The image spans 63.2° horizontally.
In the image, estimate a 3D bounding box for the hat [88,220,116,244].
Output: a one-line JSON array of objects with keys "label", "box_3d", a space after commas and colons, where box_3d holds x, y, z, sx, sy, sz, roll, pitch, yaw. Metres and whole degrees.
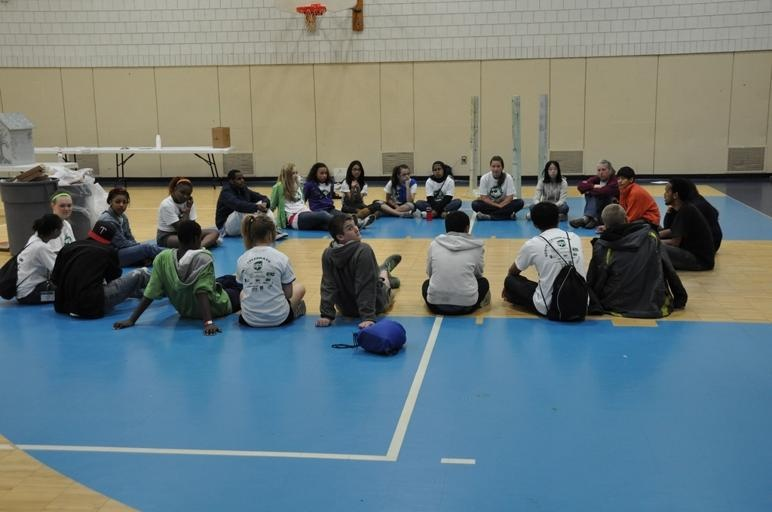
[{"label": "hat", "box_3d": [-3.498, -0.246, 7.768, 0.257, 0.216, 0.374, 16, 16, -13]}]

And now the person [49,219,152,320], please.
[{"label": "person", "box_3d": [-3.433, 0.077, 7.632, 0.979, 1.052, 1.378, 10, 13, 19]}]

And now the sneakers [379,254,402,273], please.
[{"label": "sneakers", "box_3d": [0.058, 0.109, 7.895, 0.143, 0.139, 0.375, -4, 28, 35]}]

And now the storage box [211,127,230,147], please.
[{"label": "storage box", "box_3d": [-4.244, -3.030, 16.227, 0.451, 0.663, 0.635, 0, 7, 0]}]

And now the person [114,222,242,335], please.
[{"label": "person", "box_3d": [-2.158, 0.133, 7.163, 1.019, 1.165, 1.898, 2, 9, 3]}]

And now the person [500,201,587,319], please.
[{"label": "person", "box_3d": [1.764, -0.017, 7.148, 0.895, 1.270, 1.241, -3, 12, -6]}]

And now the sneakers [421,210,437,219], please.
[{"label": "sneakers", "box_3d": [0.845, -0.780, 11.958, 0.206, 0.215, 0.204, -1, 4, -15]}]

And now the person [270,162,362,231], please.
[{"label": "person", "box_3d": [-1.344, -1.030, 11.452, 1.514, 1.087, 1.097, 10, 19, 23]}]

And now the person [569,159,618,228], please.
[{"label": "person", "box_3d": [3.744, -1.105, 11.350, 1.191, 1.378, 0.707, -5, 11, -21]}]

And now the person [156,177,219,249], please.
[{"label": "person", "box_3d": [-2.976, -0.623, 9.493, 0.999, 1.055, 0.804, 5, 15, -5]}]

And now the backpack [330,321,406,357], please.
[{"label": "backpack", "box_3d": [-0.094, 0.804, 6.356, 0.517, 0.283, 0.671, 7, 7, 23]}]

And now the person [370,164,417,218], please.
[{"label": "person", "box_3d": [0.241, -1.247, 12.134, 0.988, 1.048, 0.922, -6, 12, -41]}]

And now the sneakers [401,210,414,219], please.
[{"label": "sneakers", "box_3d": [0.423, -0.794, 12.135, 0.291, 0.141, 0.105, 5, 11, 4]}]

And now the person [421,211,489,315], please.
[{"label": "person", "box_3d": [0.781, 0.077, 6.965, 0.738, 1.165, 0.418, -2, 13, -3]}]

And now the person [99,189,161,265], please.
[{"label": "person", "box_3d": [-3.585, -0.387, 8.788, 0.805, 1.168, 0.491, -2, 16, -5]}]

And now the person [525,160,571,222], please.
[{"label": "person", "box_3d": [2.986, -1.219, 11.471, 0.682, 1.057, 0.656, 4, 11, 21]}]

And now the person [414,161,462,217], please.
[{"label": "person", "box_3d": [0.984, -1.305, 12.088, 0.877, 1.104, 0.820, -2, 5, 1]}]

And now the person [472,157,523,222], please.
[{"label": "person", "box_3d": [2.113, -1.347, 12.067, 1.082, 1.394, 1.050, -1, 15, 6]}]

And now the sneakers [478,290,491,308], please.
[{"label": "sneakers", "box_3d": [1.140, 0.506, 7.194, 0.075, 0.109, 0.259, 2, 20, 11]}]

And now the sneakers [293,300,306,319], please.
[{"label": "sneakers", "box_3d": [-0.969, 0.591, 7.008, 0.067, 0.158, 0.217, 3, 23, 7]}]

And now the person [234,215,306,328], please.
[{"label": "person", "box_3d": [-1.324, 0.139, 6.998, 0.790, 1.222, 0.935, 0, 5, 13]}]

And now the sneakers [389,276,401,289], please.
[{"label": "sneakers", "box_3d": [0.101, 0.333, 7.783, 0.151, 0.162, 0.105, -12, 20, -43]}]

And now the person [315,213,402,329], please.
[{"label": "person", "box_3d": [-0.352, 0.136, 6.797, 0.759, 1.188, 1.189, 0, 13, 4]}]

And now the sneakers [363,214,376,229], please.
[{"label": "sneakers", "box_3d": [-0.335, -0.617, 11.273, 0.148, 0.123, 0.349, 6, -39, -47]}]

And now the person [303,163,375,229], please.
[{"label": "person", "box_3d": [-0.982, -1.055, 11.267, 0.720, 1.103, 1.491, -7, 21, -30]}]

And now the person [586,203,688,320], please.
[{"label": "person", "box_3d": [2.733, 0.027, 7.139, 1.102, 1.196, 0.868, -8, 7, 8]}]

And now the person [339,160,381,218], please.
[{"label": "person", "box_3d": [-0.595, -1.240, 11.829, 0.722, 1.240, 1.140, -2, 8, -10]}]

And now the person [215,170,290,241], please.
[{"label": "person", "box_3d": [-2.369, -0.862, 10.817, 1.171, 1.287, 0.876, 1, 10, 11]}]

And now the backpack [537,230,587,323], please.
[{"label": "backpack", "box_3d": [1.906, 0.230, 6.725, 0.488, 0.949, 0.214, 2, 13, 14]}]
